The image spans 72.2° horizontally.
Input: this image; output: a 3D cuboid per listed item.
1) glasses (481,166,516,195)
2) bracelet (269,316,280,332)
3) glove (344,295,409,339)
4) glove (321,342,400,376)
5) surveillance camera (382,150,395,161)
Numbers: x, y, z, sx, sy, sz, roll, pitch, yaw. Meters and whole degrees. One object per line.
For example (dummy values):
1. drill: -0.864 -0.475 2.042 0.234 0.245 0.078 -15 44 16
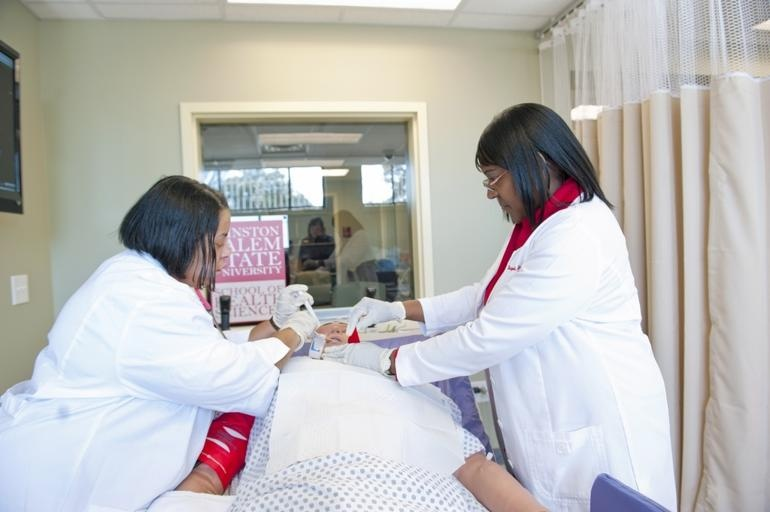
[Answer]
1. glasses: 0.431 -0.269 1.932 0.031 0.098 0.091 5 0 -17
2. bracelet: -0.485 0.301 2.306 0.012 0.049 0.051 -34 35 1
3. glove: -0.039 0.252 2.276 0.316 0.209 0.160 -7 0 -10
4. glove: -0.094 0.394 2.050 0.212 0.066 0.125 4 45 14
5. surveillance camera: 0.030 -0.665 3.492 0.058 0.066 0.076 -1 -7 -1
